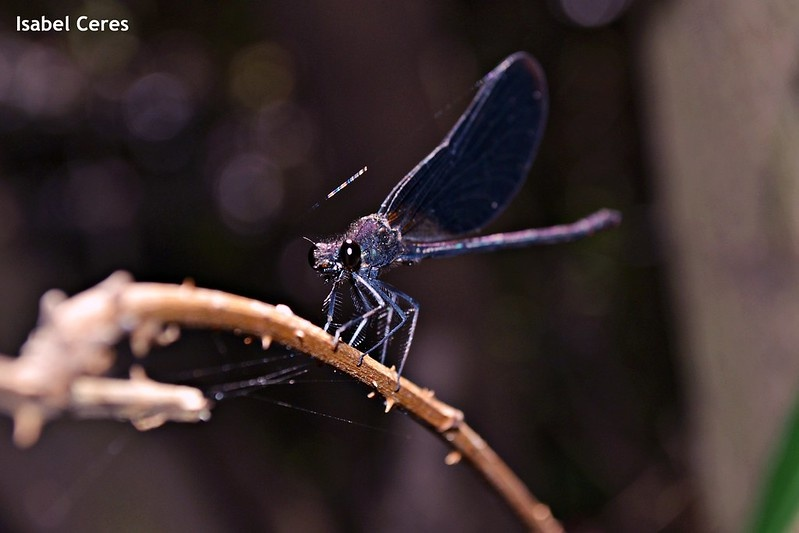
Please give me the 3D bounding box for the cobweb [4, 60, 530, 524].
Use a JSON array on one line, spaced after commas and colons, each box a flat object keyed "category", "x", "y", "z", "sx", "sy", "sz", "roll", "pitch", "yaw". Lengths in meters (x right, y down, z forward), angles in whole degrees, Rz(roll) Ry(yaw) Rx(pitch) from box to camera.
[{"category": "cobweb", "x": -0.371, "y": 0.116, "z": 3.258, "sx": 2.312, "sy": 2.054, "sz": 0.610, "roll": -3, "pitch": -6, "yaw": -14}]
